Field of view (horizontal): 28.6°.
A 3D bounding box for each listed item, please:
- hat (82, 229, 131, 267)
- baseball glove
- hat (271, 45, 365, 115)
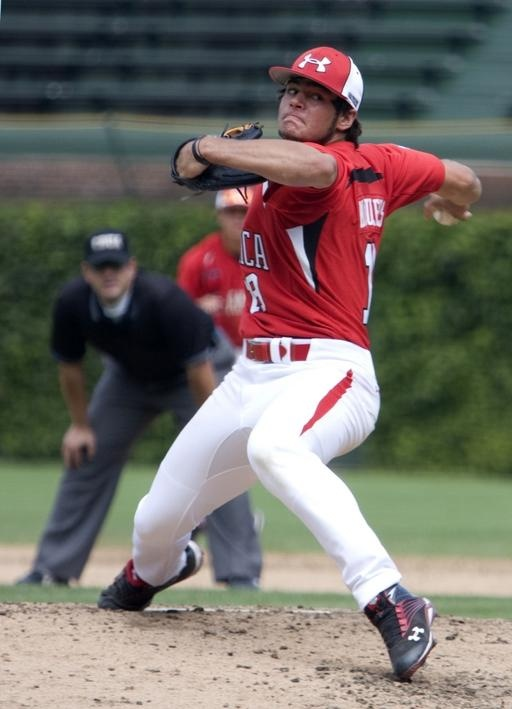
[{"bbox_3d":[-0.527,-0.368,3.480,0.132,0.074,0.156,-2,2,0],"label":"hat"},{"bbox_3d":[-0.092,-0.546,2.890,0.274,0.098,0.173,-18,67,-6],"label":"baseball glove"},{"bbox_3d":[0.191,-0.814,2.932,0.213,0.143,0.297,20,5,26],"label":"hat"}]
